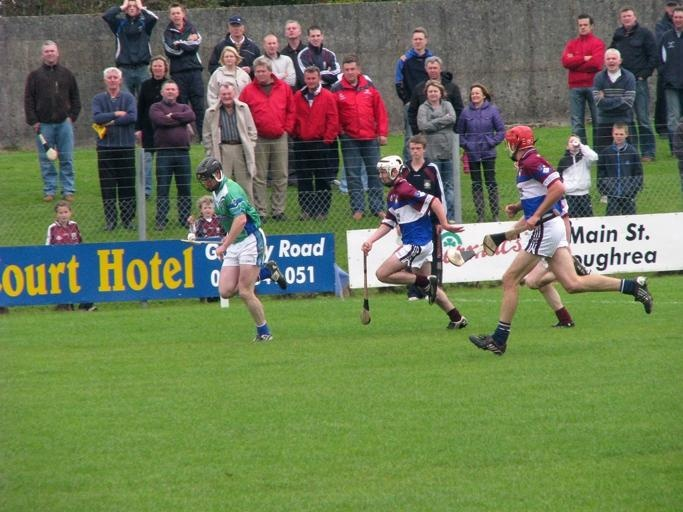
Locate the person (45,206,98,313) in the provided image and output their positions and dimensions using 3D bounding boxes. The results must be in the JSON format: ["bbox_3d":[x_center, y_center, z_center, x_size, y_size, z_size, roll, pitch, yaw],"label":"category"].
[{"bbox_3d":[-4.620,-0.013,22.232,0.733,1.862,0.436,-5,4,-12],"label":"person"}]

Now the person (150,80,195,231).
[{"bbox_3d":[-3.066,-1.829,23.447,0.686,2.607,1.182,-3,4,21],"label":"person"}]

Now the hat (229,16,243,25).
[{"bbox_3d":[-1.963,-4.354,24.469,0.215,0.127,0.315,-1,8,-3],"label":"hat"}]

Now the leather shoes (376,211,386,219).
[{"bbox_3d":[0.722,-0.734,23.280,0.123,0.140,0.142,1,5,12],"label":"leather shoes"}]

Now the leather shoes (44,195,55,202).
[{"bbox_3d":[-5.439,-1.073,24.351,0.141,0.077,0.219,0,15,-3],"label":"leather shoes"}]

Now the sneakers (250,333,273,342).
[{"bbox_3d":[-1.159,1.200,19.569,0.261,0.116,0.097,-3,2,-11],"label":"sneakers"}]

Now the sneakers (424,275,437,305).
[{"bbox_3d":[1.340,0.475,19.393,0.178,0.431,0.140,-4,7,-13],"label":"sneakers"}]

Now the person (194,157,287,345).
[{"bbox_3d":[-1.488,-0.106,19.461,0.916,2.749,1.095,-4,4,8],"label":"person"}]

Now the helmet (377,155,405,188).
[{"bbox_3d":[0.764,-1.314,19.971,0.431,0.423,0.347,1,1,-5],"label":"helmet"}]

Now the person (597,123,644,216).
[{"bbox_3d":[5.024,-1.457,23.488,0.531,1.746,0.468,-13,-37,25],"label":"person"}]

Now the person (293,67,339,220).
[{"bbox_3d":[-0.434,-2.058,23.861,0.880,2.700,1.232,-4,4,-2],"label":"person"}]

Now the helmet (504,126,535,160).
[{"bbox_3d":[2.510,-1.602,18.547,0.381,0.486,0.469,-7,1,-37],"label":"helmet"}]

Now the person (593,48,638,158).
[{"bbox_3d":[5.158,-2.665,24.638,0.765,2.540,0.604,1,34,12],"label":"person"}]

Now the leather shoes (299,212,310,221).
[{"bbox_3d":[-0.652,-0.702,23.389,0.153,0.153,0.158,-2,-5,12],"label":"leather shoes"}]

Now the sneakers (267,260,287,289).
[{"bbox_3d":[-0.967,0.310,20.077,0.216,0.188,0.544,-28,-41,-1],"label":"sneakers"}]

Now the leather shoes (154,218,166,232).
[{"bbox_3d":[-3.164,-0.542,22.934,0.208,0.214,0.131,7,-2,-24],"label":"leather shoes"}]

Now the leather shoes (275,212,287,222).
[{"bbox_3d":[-1.075,-0.698,23.487,0.219,0.165,0.103,-3,14,-9],"label":"leather shoes"}]

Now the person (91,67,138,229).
[{"bbox_3d":[-4.008,-1.919,23.479,0.777,2.851,1.223,-5,4,-9],"label":"person"}]

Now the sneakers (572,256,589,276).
[{"bbox_3d":[3.718,0.141,20.322,0.129,0.306,0.102,-40,3,-34],"label":"sneakers"}]

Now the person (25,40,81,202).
[{"bbox_3d":[-5.355,-2.494,24.381,0.985,2.905,1.181,-5,4,-12],"label":"person"}]

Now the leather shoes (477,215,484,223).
[{"bbox_3d":[2.487,-0.664,23.302,0.103,0.140,0.093,-7,-10,8],"label":"leather shoes"}]

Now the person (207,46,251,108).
[{"bbox_3d":[-2.017,-3.063,23.905,0.900,1.404,0.667,-2,-5,-18],"label":"person"}]

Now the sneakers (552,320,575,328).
[{"bbox_3d":[3.378,1.013,19.778,0.294,0.138,0.111,2,1,14],"label":"sneakers"}]

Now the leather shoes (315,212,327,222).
[{"bbox_3d":[-0.347,-0.726,23.379,0.209,0.190,0.063,-5,4,-1],"label":"leather shoes"}]

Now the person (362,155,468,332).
[{"bbox_3d":[1.125,-0.020,19.784,1.374,2.311,0.861,-4,4,5],"label":"person"}]

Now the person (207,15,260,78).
[{"bbox_3d":[-2.014,-3.884,25.035,1.132,1.340,0.903,0,-5,-8],"label":"person"}]

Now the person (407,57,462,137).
[{"bbox_3d":[1.743,-2.480,23.960,0.950,2.277,0.750,-3,-7,9],"label":"person"}]

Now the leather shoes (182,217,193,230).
[{"bbox_3d":[-2.648,-0.571,22.602,0.091,0.092,0.283,-21,15,3],"label":"leather shoes"}]

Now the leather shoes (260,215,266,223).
[{"bbox_3d":[-1.386,-0.664,23.218,0.096,0.084,0.151,11,-29,1],"label":"leather shoes"}]

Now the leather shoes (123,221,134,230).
[{"bbox_3d":[-3.728,-0.539,22.986,0.202,0.148,0.051,-4,4,10],"label":"leather shoes"}]
